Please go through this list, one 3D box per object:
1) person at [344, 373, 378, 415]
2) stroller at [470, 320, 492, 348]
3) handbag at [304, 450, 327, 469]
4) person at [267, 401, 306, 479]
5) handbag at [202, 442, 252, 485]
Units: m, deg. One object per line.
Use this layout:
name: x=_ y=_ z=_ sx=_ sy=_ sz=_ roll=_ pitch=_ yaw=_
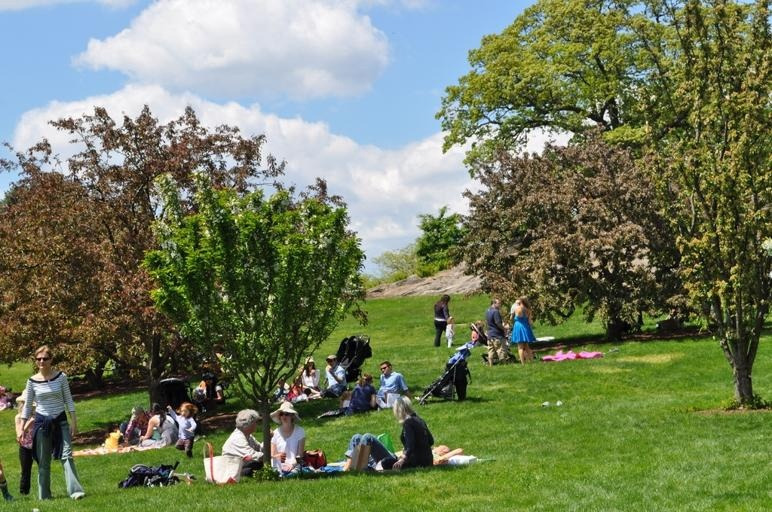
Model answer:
person: x=-0.933 y=5.282 z=45.352 sx=1.222 sy=1.348 sz=1.099 roll=-5 pitch=10 yaw=-3
stroller: x=4.380 y=3.439 z=54.731 sx=0.406 sy=1.018 sz=0.817 roll=-16 pitch=-29 yaw=17
handbag: x=-2.356 y=6.744 z=39.329 sx=0.556 sy=0.595 sz=0.555 roll=2 pitch=-15 yaw=-5
person: x=-3.195 y=6.042 z=39.138 sx=1.212 sy=2.270 sz=1.202 roll=-3 pitch=-2 yaw=9
handbag: x=-5.276 y=6.928 z=39.099 sx=1.390 sy=1.494 sz=1.133 roll=-2 pitch=-12 yaw=10
